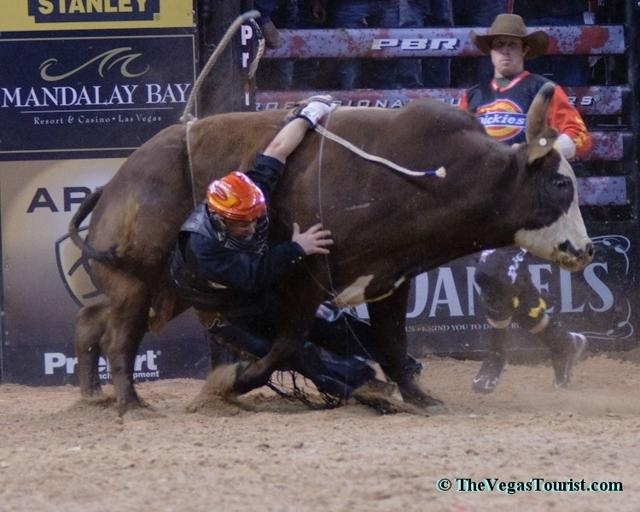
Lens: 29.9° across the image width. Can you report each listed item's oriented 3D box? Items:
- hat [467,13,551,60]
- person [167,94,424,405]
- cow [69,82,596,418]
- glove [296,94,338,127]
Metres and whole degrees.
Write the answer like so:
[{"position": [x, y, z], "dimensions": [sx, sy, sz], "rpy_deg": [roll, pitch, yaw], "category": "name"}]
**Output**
[{"position": [1.337, -1.585, 8.528], "dimensions": [0.528, 0.202, 0.567], "rpy_deg": [0, -17, 13], "category": "hat"}, {"position": [-0.292, 0.024, 7.649], "dimensions": [1.259, 1.949, 0.567], "rpy_deg": [-6, 16, -16], "category": "person"}, {"position": [0.012, -0.004, 7.888], "dimensions": [3.641, 1.929, 0.978], "rpy_deg": [-1, 3, 9], "category": "cow"}, {"position": [-0.006, -0.968, 7.746], "dimensions": [0.133, 0.143, 0.367], "rpy_deg": [20, 37, 19], "category": "glove"}]
